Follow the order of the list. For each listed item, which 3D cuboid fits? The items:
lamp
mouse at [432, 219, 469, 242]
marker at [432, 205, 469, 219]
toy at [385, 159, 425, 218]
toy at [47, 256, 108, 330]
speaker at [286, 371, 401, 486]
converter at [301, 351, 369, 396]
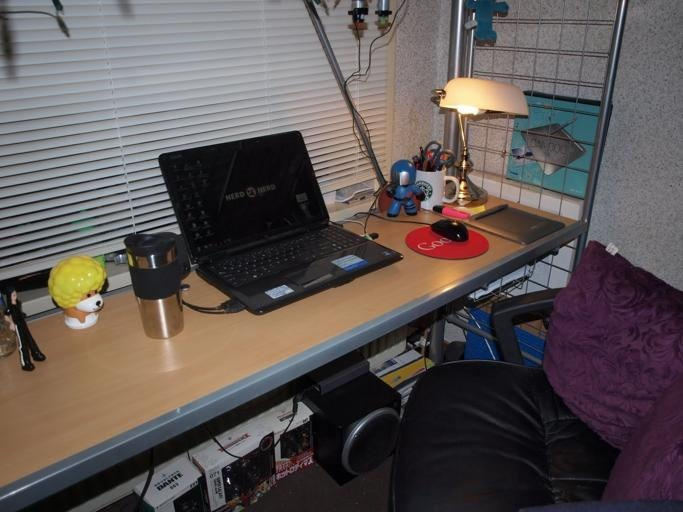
[{"bbox_3d":[0.511,-0.433,1.847,0.311,0.455,0.390,5,28,17],"label":"lamp"},{"bbox_3d":[0.343,-0.083,1.582,0.062,0.040,0.104,-22,32,-36],"label":"mouse"},{"bbox_3d":[0.388,-0.156,1.811,0.141,0.045,0.039,14,48,34],"label":"marker"},{"bbox_3d":[0.229,-0.236,1.773,0.148,0.195,0.103,-14,34,-19],"label":"toy"},{"bbox_3d":[-0.661,0.097,1.244,0.106,0.139,0.110,19,32,6],"label":"toy"},{"bbox_3d":[0.040,0.566,1.848,0.354,0.358,0.346,-24,41,-35],"label":"speaker"},{"bbox_3d":[-0.008,0.396,1.723,0.182,0.041,0.126,-24,17,-24],"label":"converter"}]
